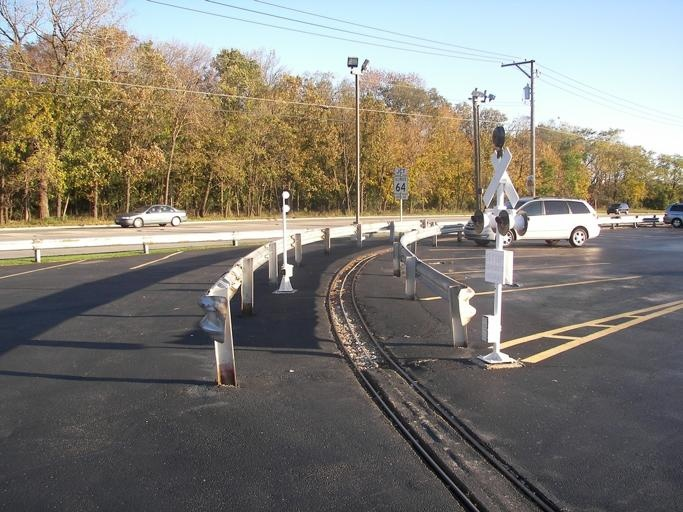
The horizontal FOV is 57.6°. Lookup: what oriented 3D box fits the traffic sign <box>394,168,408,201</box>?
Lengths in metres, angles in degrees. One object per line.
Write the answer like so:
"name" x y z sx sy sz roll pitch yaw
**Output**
"traffic sign" 2.275 -2.775 23.877 0.443 1.197 0.946 0 11 1
